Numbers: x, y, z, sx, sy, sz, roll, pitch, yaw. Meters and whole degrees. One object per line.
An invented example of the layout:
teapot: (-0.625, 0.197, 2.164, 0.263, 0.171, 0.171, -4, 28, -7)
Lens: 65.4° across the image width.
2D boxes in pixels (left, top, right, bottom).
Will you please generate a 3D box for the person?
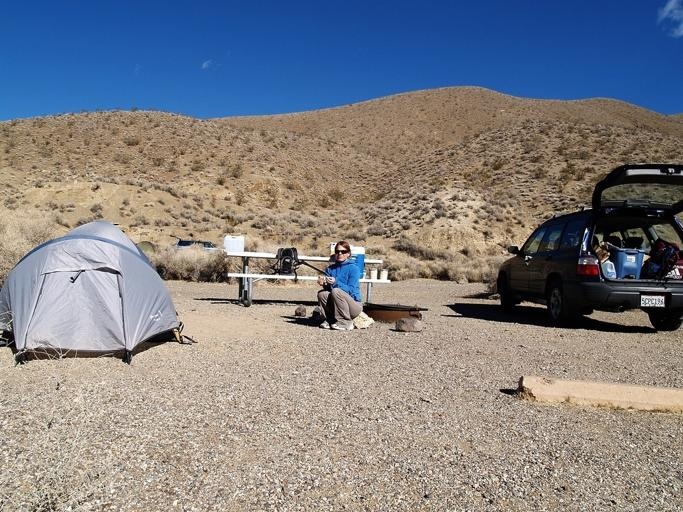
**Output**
person: (-0.060, 0.539, 9.764, 0.743, 1.558, 0.649, 4, 6, 28)

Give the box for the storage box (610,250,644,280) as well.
storage box: (5.104, 0.156, 9.693, 0.576, 0.609, 0.526, 3, -7, 4)

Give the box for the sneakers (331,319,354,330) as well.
sneakers: (0.030, 1.255, 9.595, 0.308, 0.144, 0.175, 4, -7, -9)

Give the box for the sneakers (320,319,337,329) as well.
sneakers: (-0.245, 1.253, 9.631, 0.119, 0.138, 0.307, -6, -15, 37)

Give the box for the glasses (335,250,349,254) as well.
glasses: (0.025, -0.076, 9.715, 0.247, 0.079, 0.113, 1, 5, -2)

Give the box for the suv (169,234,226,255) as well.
suv: (-7.022, -0.546, 25.366, 2.768, 1.355, 1.288, 0, 11, 0)

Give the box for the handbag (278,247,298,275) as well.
handbag: (-1.234, 0.111, 12.254, 0.517, 0.559, 0.398, 0, 5, -18)
